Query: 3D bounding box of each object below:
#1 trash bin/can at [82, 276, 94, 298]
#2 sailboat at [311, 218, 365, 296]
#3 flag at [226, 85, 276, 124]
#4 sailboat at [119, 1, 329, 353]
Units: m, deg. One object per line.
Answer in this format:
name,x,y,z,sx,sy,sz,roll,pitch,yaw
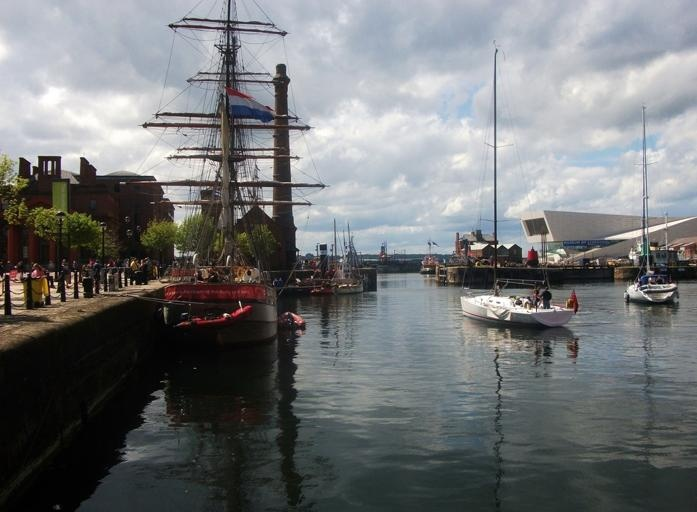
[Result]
trash bin/can,-13.184,1.610,33.770,0.408,1.091,0.774,-5,7,-27
sailboat,-2.159,2.685,104.889,4.979,9.742,16.460,1,1,9
flag,-6.845,-10.310,45.573,2.906,2.221,3.180,-3,7,-10
sailboat,-10.576,-2.300,53.641,14.802,32.038,8.422,2,-7,-22
